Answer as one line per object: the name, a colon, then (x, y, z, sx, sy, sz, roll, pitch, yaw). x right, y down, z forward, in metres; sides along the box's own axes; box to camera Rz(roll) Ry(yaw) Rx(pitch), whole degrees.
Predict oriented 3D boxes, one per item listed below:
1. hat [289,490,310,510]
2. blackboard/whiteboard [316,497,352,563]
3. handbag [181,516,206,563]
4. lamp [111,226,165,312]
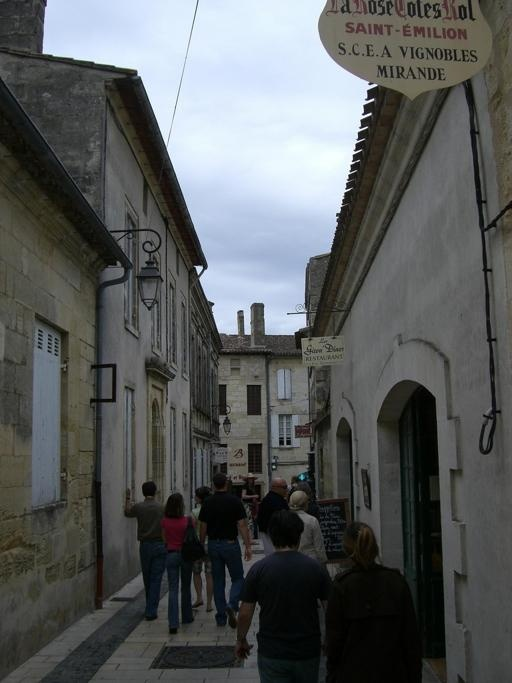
hat: (0.414, 1.494, 5.840, 0.167, 0.246, 0.130, -8, 11, -42)
blackboard/whiteboard: (0.990, 2.553, 8.268, 0.519, 0.974, 0.083, -11, -52, 11)
handbag: (-0.703, 2.213, 6.762, 0.198, 0.569, 0.221, -13, -32, -1)
lamp: (-1.755, -1.067, 9.029, 0.649, 1.740, 0.439, -1, -36, -12)
